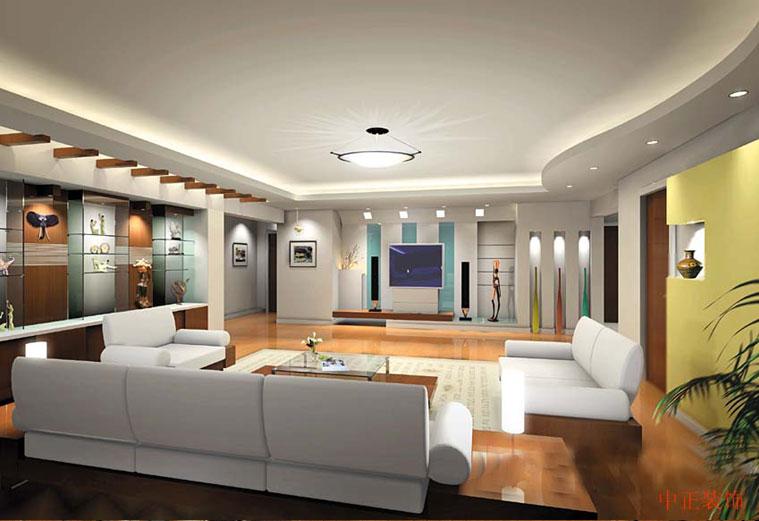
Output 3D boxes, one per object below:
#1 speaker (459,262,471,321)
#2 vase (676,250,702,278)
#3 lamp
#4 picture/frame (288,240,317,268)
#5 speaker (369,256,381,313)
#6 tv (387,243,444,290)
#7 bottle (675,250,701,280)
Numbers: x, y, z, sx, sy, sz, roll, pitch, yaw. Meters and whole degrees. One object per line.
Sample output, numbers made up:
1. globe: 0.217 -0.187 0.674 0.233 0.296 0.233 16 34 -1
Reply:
1. speaker: 1.964 0.681 10.944 0.188 1.299 0.242 0 1 9
2. vase: 3.578 0.054 5.476 0.227 0.332 0.203 0 1 0
3. lamp: 0.049 -1.523 6.874 1.284 0.402 1.432 0 1 -5
4. picture/frame: -1.832 -0.149 11.522 0.622 0.609 0.050 0 3 14
5. speaker: -0.101 0.554 11.436 0.203 1.257 0.205 0 1 -5
6. tv: 0.910 0.155 11.209 1.052 0.845 0.115 0 -1 14
7. bottle: 3.548 0.060 5.442 0.283 0.366 0.289 -1 -5 0
